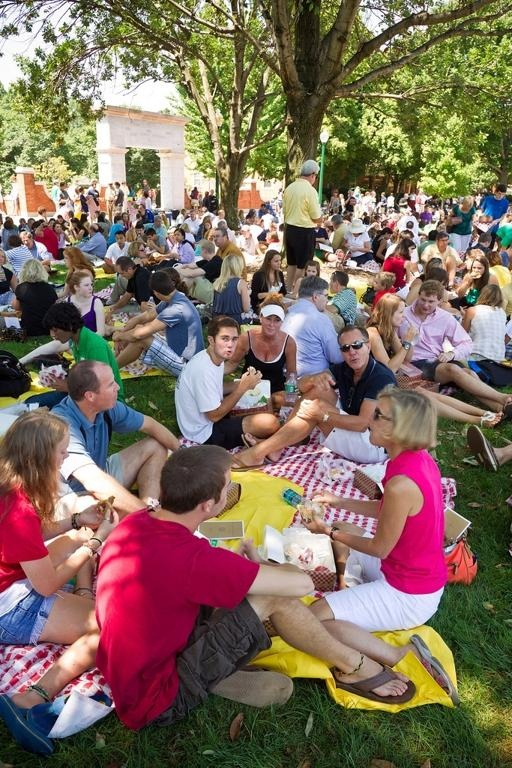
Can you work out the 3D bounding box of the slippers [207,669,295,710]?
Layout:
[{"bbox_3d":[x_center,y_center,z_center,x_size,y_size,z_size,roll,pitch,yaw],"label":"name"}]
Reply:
[{"bbox_3d":[-0.016,1.414,2.462,0.300,0.074,0.165,-5,15,-3],"label":"slippers"}]

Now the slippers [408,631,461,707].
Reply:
[{"bbox_3d":[0.855,1.380,2.592,0.126,0.105,0.311,7,38,-50],"label":"slippers"}]

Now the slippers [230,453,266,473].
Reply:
[{"bbox_3d":[-0.076,0.721,4.771,0.352,0.147,0.118,6,5,-8],"label":"slippers"}]

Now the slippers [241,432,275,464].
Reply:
[{"bbox_3d":[0.022,0.595,4.688,0.153,0.197,0.502,9,-20,3],"label":"slippers"}]

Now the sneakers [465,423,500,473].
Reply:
[{"bbox_3d":[2.007,0.588,4.719,0.194,0.498,0.196,-22,-1,-29],"label":"sneakers"}]

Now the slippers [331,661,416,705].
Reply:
[{"bbox_3d":[0.544,1.410,2.480,0.303,0.083,0.161,2,16,24],"label":"slippers"}]
